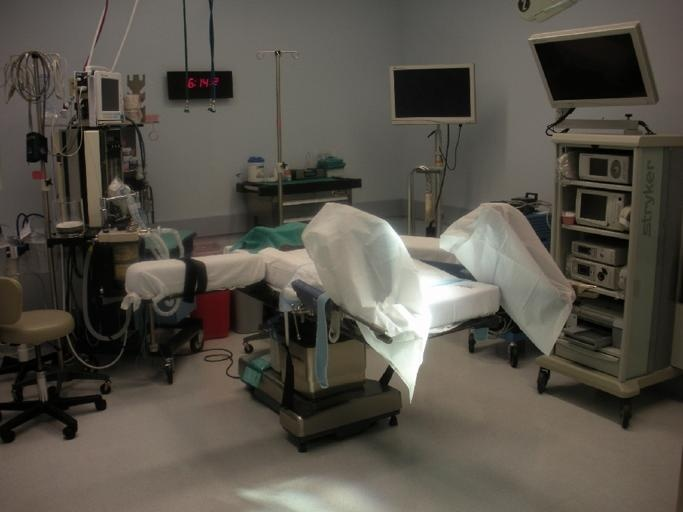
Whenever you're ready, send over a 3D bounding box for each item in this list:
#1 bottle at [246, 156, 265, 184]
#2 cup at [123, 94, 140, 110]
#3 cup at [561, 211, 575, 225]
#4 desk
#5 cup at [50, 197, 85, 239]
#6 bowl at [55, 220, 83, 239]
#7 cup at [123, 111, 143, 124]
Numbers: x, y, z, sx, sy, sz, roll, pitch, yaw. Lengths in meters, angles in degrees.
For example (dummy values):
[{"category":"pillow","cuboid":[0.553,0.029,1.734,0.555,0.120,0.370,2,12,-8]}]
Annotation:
[{"category":"bottle","cuboid":[-1.030,-1.050,6.814,0.193,0.294,0.224,-3,10,-13]},{"category":"cup","cuboid":[-1.808,-1.321,4.837,0.121,0.125,0.137,-4,11,-18]},{"category":"cup","cuboid":[1.532,-0.251,3.779,0.083,0.068,0.082,-2,9,0]},{"category":"desk","cuboid":[-0.539,-0.637,6.847,1.394,0.623,0.768,-4,11,-17]},{"category":"cup","cuboid":[-1.919,-0.251,3.915,0.250,0.304,0.249,0,2,0]},{"category":"bowl","cuboid":[-1.875,-0.184,3.860,0.190,0.103,0.171,-4,11,-19]},{"category":"cup","cuboid":[-1.783,-1.192,4.816,0.156,0.125,0.160,3,8,0]}]
